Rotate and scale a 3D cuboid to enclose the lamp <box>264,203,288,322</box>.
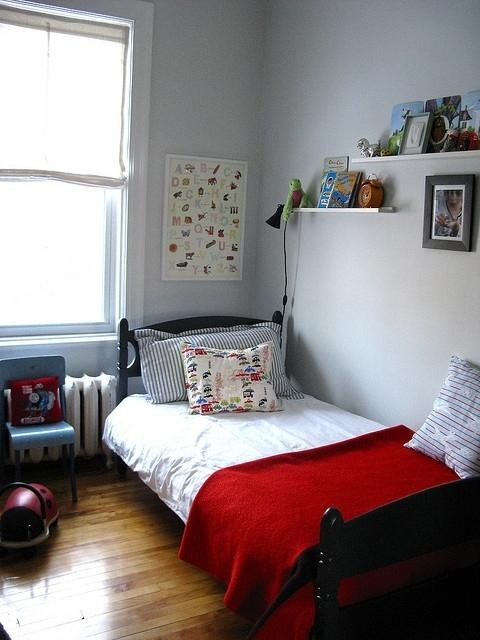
[{"bbox_3d":[0.222,-0.330,2.851,0.140,0.714,0.293,3,3,5],"label":"lamp"}]

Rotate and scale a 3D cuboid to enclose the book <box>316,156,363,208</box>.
[{"bbox_3d":[0.501,-0.687,2.377,0.034,0.325,0.265,7,10,-30],"label":"book"}]

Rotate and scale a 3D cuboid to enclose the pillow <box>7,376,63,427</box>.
[{"bbox_3d":[-0.995,0.398,2.312,0.196,0.208,0.073,-4,-7,-26],"label":"pillow"}]

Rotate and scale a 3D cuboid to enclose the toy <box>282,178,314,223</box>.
[{"bbox_3d":[0.326,-0.674,2.651,0.144,0.220,0.155,2,3,-11],"label":"toy"}]

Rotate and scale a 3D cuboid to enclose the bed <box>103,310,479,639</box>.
[{"bbox_3d":[0.110,0.352,1.514,0.650,0.399,0.946,-4,11,-23],"label":"bed"}]

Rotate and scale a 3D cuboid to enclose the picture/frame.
[{"bbox_3d":[0.756,-0.539,1.854,0.079,0.556,0.339,1,3,-26],"label":"picture/frame"}]
